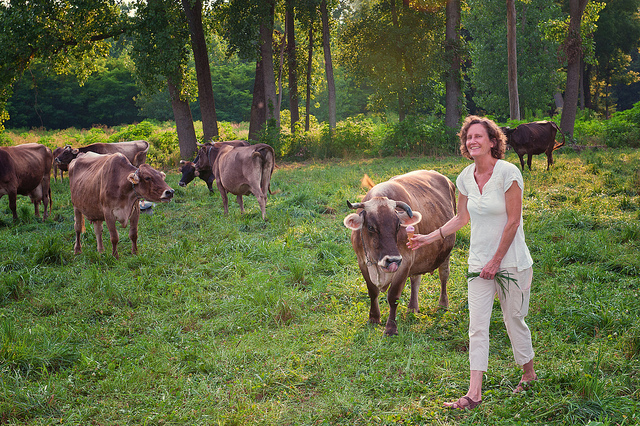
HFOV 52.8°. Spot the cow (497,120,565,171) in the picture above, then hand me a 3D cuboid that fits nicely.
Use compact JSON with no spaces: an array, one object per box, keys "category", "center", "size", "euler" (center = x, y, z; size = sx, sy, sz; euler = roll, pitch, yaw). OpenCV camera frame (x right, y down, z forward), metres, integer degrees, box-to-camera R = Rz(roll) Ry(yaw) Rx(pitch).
[{"category":"cow","center":[8.572,-2.659,26.033],"size":[3.603,1.956,1.038],"euler":[-8,5,-25]}]

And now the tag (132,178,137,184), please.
[{"category":"tag","center":[-5.349,-0.889,18.589],"size":[0.118,0.137,0.186],"euler":[-4,5,-15]}]

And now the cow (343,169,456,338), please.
[{"category":"cow","center":[2.108,1.034,16.199],"size":[2.972,3.863,1.385],"euler":[-7,7,-40]}]

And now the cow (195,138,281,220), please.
[{"category":"cow","center":[-3.098,-1.220,23.477],"size":[1.398,2.784,4.314],"euler":[-11,12,-41]}]

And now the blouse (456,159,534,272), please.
[{"category":"blouse","center":[3.955,0.073,14.801],"size":[1.210,2.803,1.500],"euler":[1,-1,4]}]
